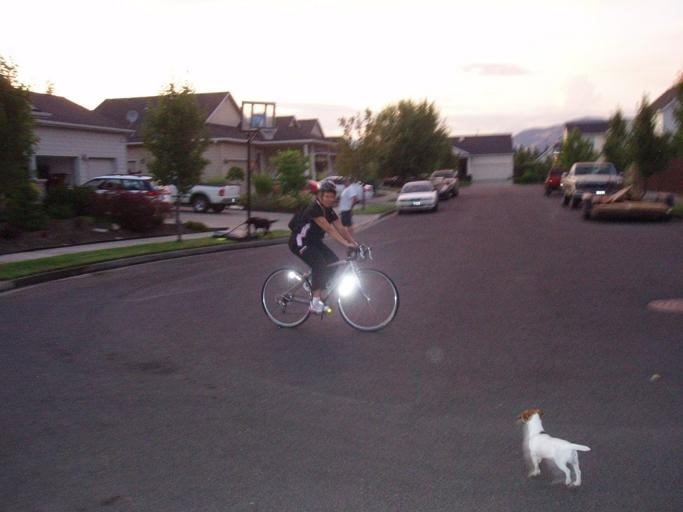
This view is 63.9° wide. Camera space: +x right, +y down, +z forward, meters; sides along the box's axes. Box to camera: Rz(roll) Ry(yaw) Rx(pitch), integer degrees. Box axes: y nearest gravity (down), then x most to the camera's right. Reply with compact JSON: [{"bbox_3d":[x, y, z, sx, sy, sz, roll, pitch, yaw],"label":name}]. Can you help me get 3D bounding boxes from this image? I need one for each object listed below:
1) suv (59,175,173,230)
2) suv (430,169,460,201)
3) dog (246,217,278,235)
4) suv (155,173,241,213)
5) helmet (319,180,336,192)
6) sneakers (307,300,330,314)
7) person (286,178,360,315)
[{"bbox_3d":[-8.701,-2.173,22.068,6.054,2.156,2.625,4,10,29],"label":"suv"},{"bbox_3d":[7.808,-5.585,42.541,1.808,1.782,4.700,-1,7,18],"label":"suv"},{"bbox_3d":[-3.145,-1.216,20.962,0.844,0.718,1.635,-2,10,-6],"label":"dog"},{"bbox_3d":[-7.494,-3.278,29.626,3.939,1.682,1.831,7,10,23],"label":"suv"},{"bbox_3d":[-0.194,-0.968,7.566,0.165,0.208,0.144,-1,4,-9],"label":"helmet"},{"bbox_3d":[-0.302,0.762,7.975,0.181,0.132,0.261,14,-6,38],"label":"sneakers"},{"bbox_3d":[-0.286,-0.095,7.891,1.068,2.013,0.558,6,10,41],"label":"person"}]
